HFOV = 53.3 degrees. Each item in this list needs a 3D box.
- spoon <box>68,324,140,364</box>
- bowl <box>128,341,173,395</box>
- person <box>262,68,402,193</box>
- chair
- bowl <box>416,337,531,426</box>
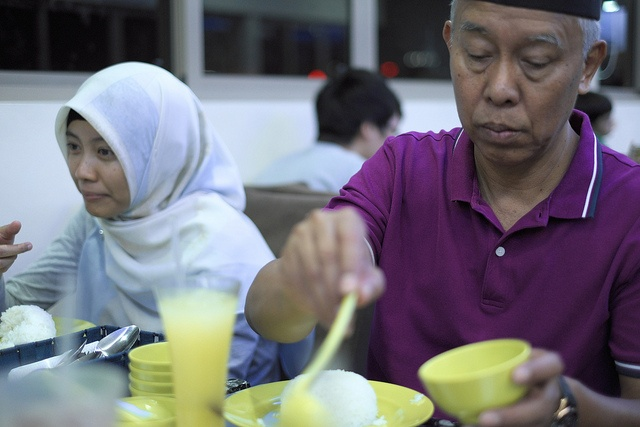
[{"bbox_3d":[-0.558,0.347,1.648,0.144,0.052,0.182,-2,12,-1],"label":"spoon"},{"bbox_3d":[-0.400,0.370,1.520,0.110,0.095,0.121,0,-1,-21],"label":"bowl"},{"bbox_3d":[0.031,-0.584,3.351,0.622,0.733,0.686,-9,25,-41],"label":"person"},{"bbox_3d":[-0.126,-0.006,2.632,0.281,0.289,0.305,6,8,41],"label":"chair"},{"bbox_3d":[0.311,0.326,1.321,0.185,0.114,0.189,-21,-7,-3],"label":"bowl"}]
